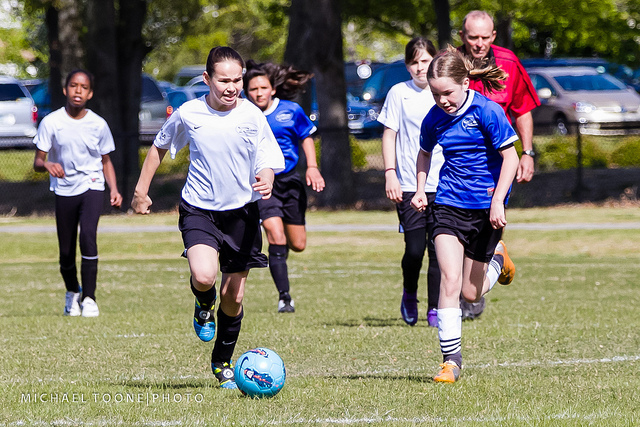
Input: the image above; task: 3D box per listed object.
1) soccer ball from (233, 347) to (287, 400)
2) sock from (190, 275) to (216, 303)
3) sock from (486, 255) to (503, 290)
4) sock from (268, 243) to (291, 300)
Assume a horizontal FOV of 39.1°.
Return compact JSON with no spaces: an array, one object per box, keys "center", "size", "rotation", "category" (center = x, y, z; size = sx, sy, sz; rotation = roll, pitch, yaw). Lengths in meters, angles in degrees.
[{"center":[-0.539,1.409,7.971],"size":[0.436,0.384,0.279],"rotation":[-2,8,-5],"category":"soccer ball"},{"center":[-1.092,0.675,8.418],"size":[0.224,0.310,0.412],"rotation":[-2,8,-7],"category":"sock"},{"center":[1.831,0.616,9.447],"size":[0.111,0.381,0.706],"rotation":[1,8,17],"category":"sock"},{"center":[-0.506,0.699,11.290],"size":[0.254,0.727,0.310],"rotation":[-1,8,-3],"category":"sock"}]
